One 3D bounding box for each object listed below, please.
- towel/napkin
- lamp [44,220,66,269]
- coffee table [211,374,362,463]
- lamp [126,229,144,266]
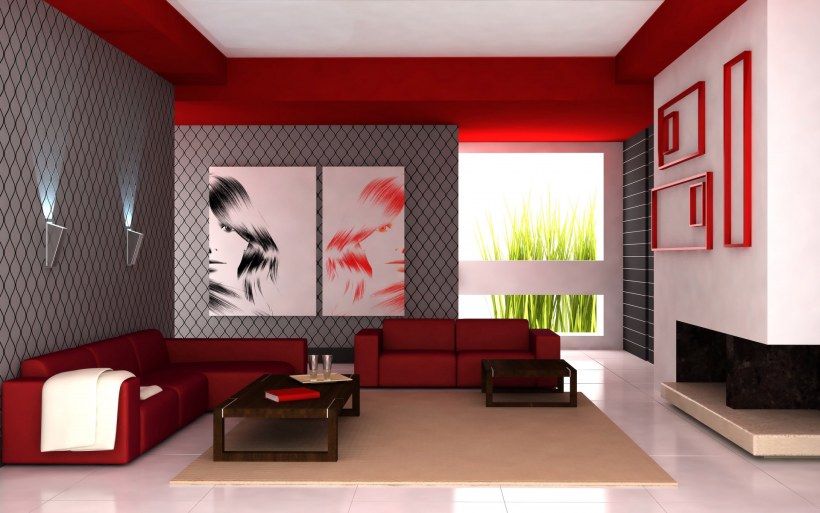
[{"bbox_3d":[-2.765,1.291,5.036,0.679,0.658,0.245,0,2,0],"label":"towel/napkin"},{"bbox_3d":[-3.356,-0.114,5.359,0.157,0.444,0.468,1,0,-14],"label":"lamp"},{"bbox_3d":[-1.117,1.436,5.358,1.145,0.529,1.075,0,10,3],"label":"coffee table"},{"bbox_3d":[-3.067,-0.106,6.318,0.135,0.383,0.404,1,1,-4],"label":"lamp"}]
